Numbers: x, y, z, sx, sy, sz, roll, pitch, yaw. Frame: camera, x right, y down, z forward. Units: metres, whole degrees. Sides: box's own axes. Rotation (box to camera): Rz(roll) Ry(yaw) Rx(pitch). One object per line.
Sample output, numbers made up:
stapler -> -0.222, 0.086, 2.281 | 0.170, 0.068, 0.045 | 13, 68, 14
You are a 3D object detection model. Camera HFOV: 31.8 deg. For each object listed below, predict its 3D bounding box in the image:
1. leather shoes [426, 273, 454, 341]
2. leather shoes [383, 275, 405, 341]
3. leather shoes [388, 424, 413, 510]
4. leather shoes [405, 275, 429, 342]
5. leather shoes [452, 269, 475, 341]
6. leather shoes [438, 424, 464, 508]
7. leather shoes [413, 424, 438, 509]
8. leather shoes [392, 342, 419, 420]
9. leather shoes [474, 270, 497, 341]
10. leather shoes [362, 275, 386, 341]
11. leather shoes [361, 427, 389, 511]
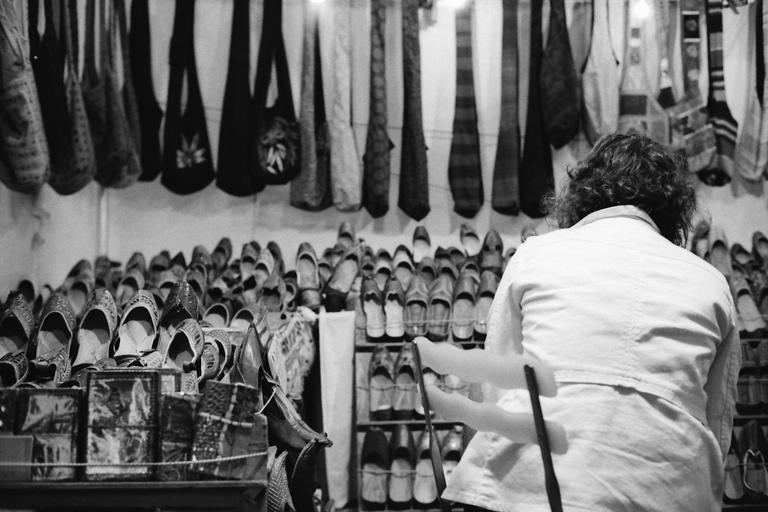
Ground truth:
leather shoes -> 0.265, 0.295, 6.457 | 0.112, 0.328, 0.094 | 1, -50, -7
leather shoes -> 0.044, 0.241, 6.428 | 0.122, 0.355, 0.106 | -3, -46, -2
leather shoes -> 0.076, 1.008, 6.360 | 0.121, 0.357, 0.096 | -1, -2, 3
leather shoes -> 0.174, 0.261, 6.390 | 0.126, 0.348, 0.107 | -14, -36, 14
leather shoes -> 0.380, 0.249, 6.366 | 0.106, 0.299, 0.082 | 0, -2, 5
leather shoes -> 0.317, 0.961, 6.295 | 0.113, 0.335, 0.096 | 0, -7, 12
leather shoes -> 0.207, 1.002, 6.383 | 0.127, 0.370, 0.107 | -3, -3, 3
leather shoes -> 0.095, 0.604, 6.387 | 0.114, 0.338, 0.102 | 0, 2, 1
leather shoes -> 0.486, 0.214, 6.403 | 0.105, 0.336, 0.086 | 4, -28, 14
leather shoes -> -0.054, 0.241, 6.417 | 0.116, 0.347, 0.102 | -5, -49, -3
leather shoes -> -0.039, 1.011, 6.365 | 0.128, 0.376, 0.099 | -3, 2, 6
